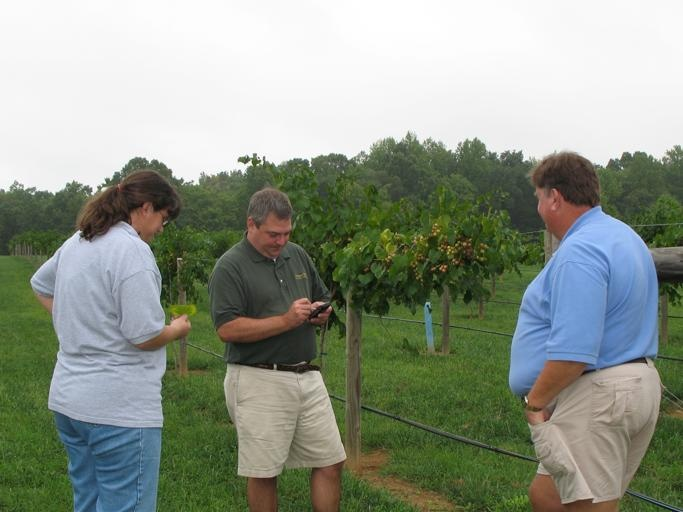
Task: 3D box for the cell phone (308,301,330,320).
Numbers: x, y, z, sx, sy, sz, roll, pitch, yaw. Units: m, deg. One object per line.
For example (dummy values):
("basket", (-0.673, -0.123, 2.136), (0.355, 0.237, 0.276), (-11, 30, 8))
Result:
("cell phone", (-0.173, 0.422, 5.079), (0.119, 0.031, 0.129), (-45, -17, 17))
